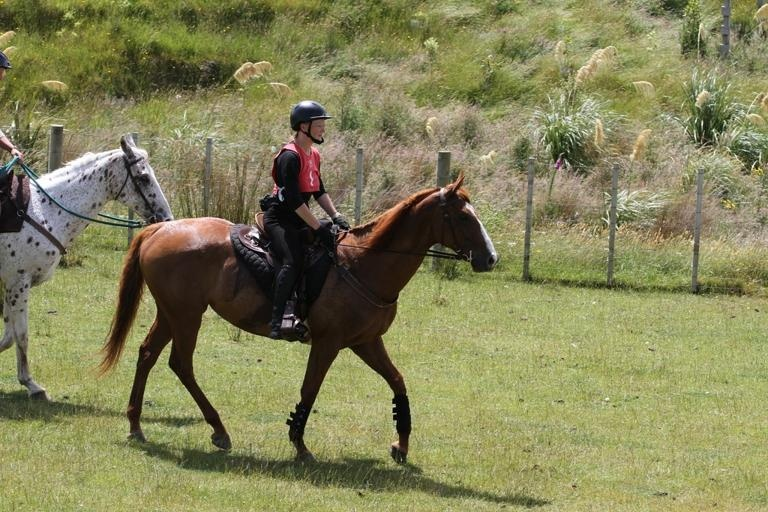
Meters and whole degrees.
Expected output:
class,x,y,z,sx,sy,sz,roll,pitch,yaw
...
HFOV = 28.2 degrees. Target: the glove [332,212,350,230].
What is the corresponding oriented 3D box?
class,x,y,z,sx,sy,sz,roll,pitch,yaw
glove,-0.954,-0.666,31.527,0.292,0.393,0.143,-48,1,-42
